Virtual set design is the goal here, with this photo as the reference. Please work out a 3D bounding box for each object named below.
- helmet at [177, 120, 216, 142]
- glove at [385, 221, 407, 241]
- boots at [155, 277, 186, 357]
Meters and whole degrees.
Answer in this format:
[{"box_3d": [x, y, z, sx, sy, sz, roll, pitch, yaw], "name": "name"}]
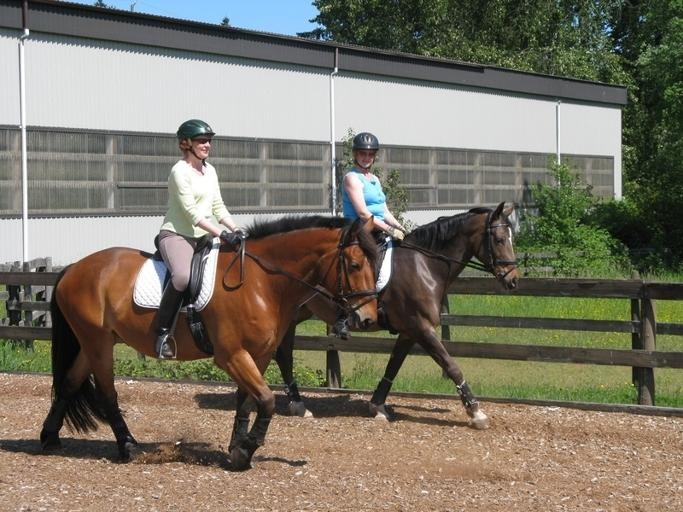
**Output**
[{"box_3d": [-2.286, -1.905, 16.370, 0.431, 0.285, 0.326, -2, 2, 16], "name": "helmet"}, {"box_3d": [0.935, -0.382, 17.981, 0.270, 0.119, 0.242, 16, -5, -22], "name": "glove"}, {"box_3d": [-2.684, 1.003, 16.277, 0.438, 1.194, 0.227, -2, 10, -16], "name": "boots"}]
